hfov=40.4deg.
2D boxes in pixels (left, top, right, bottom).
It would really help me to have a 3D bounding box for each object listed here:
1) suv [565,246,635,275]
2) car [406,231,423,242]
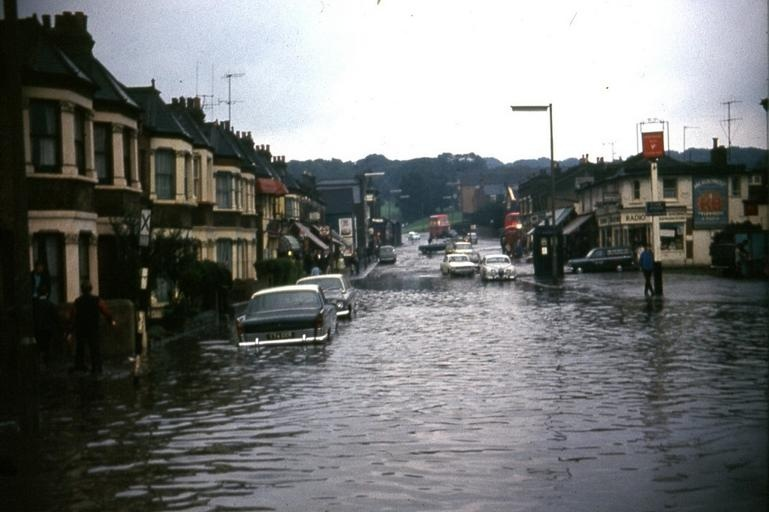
[{"bbox_3d":[13.226,0.294,63.419,3.356,1.504,1.746,0,1,-5],"label":"suv"},{"bbox_3d":[4.642,-3.136,166.510,1.434,1.469,2.480,-4,1,-28],"label":"car"}]
